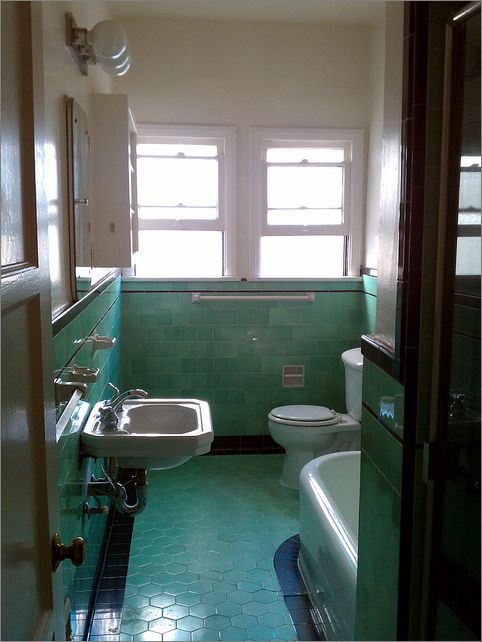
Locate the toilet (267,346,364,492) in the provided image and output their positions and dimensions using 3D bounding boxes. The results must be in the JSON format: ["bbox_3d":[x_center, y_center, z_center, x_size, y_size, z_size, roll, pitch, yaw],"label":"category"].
[{"bbox_3d":[0.455,0.610,3.600,0.737,1.140,0.560,1,5,3],"label":"toilet"}]

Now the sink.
[{"bbox_3d":[-0.380,0.534,2.160,0.519,0.285,0.681,2,1,-22],"label":"sink"}]

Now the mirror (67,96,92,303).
[{"bbox_3d":[-0.545,-0.429,1.818,0.034,0.555,0.426,-9,33,-29],"label":"mirror"}]

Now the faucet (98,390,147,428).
[{"bbox_3d":[-0.490,0.352,1.983,0.119,0.063,0.166,1,18,-13],"label":"faucet"}]
